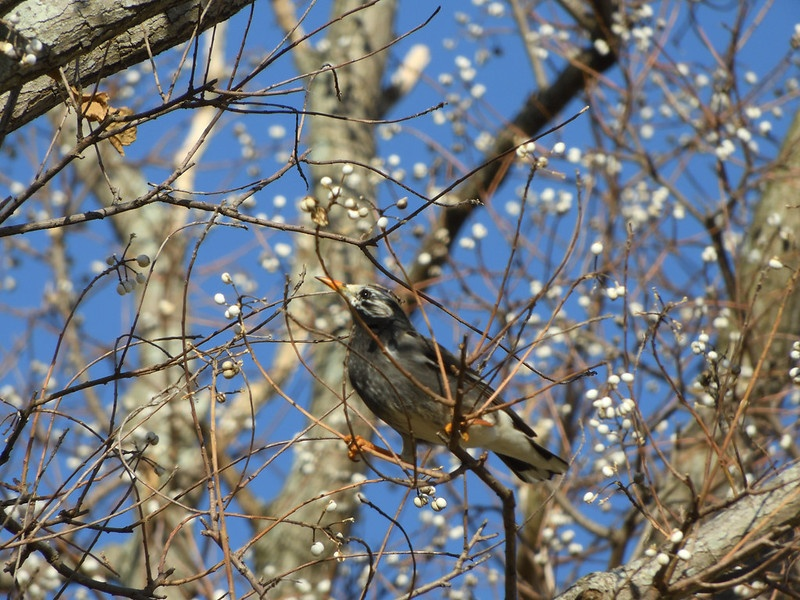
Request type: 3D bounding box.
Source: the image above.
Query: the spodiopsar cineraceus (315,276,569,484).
[{"bbox_3d":[0.411,0.711,11.055,1.965,1.349,0.772,12,-22,-15],"label":"spodiopsar cineraceus"}]
